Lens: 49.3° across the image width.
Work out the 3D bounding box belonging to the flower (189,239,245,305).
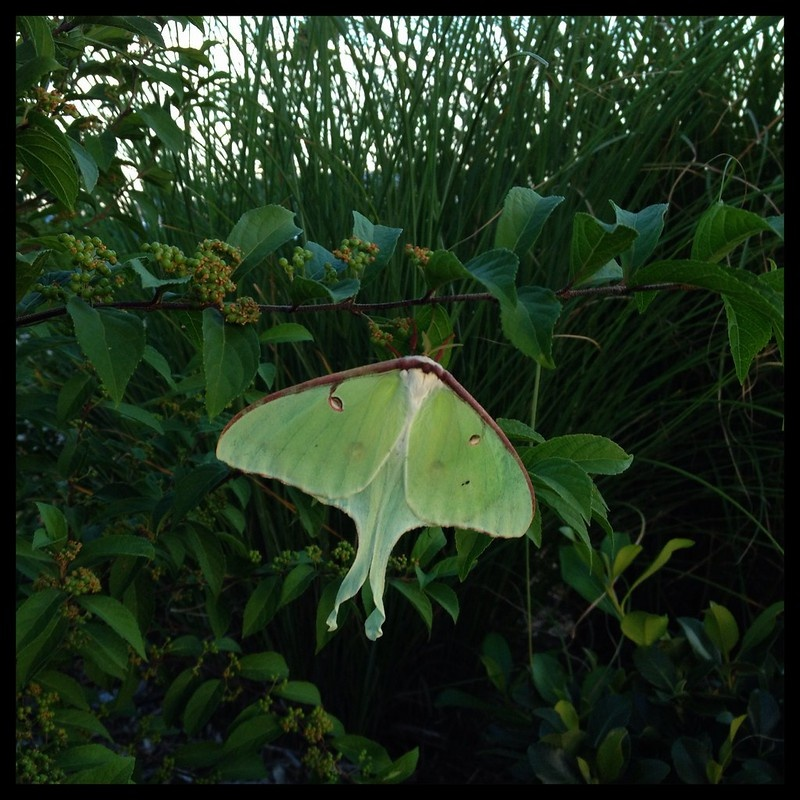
[{"bbox_3d":[-0.332,-0.237,1.526,0.076,0.121,0.036,10,-19,-32],"label":"flower"}]

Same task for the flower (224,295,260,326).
[{"bbox_3d":[-0.274,-0.157,1.534,0.054,0.047,0.033,4,-26,37],"label":"flower"}]

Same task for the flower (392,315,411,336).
[{"bbox_3d":[-0.001,-0.134,1.599,0.014,0.026,0.031,-15,12,-7],"label":"flower"}]
